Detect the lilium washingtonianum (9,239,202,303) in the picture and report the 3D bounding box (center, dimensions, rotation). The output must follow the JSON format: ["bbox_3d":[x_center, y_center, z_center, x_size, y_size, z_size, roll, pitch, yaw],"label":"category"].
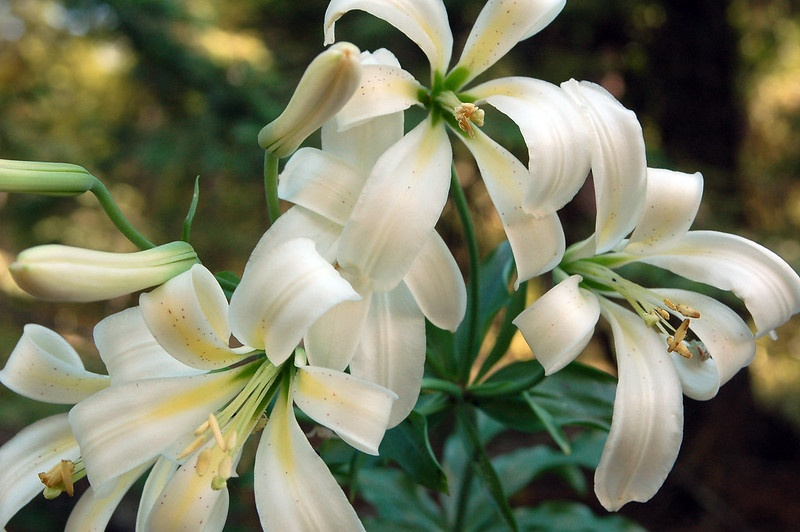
[{"bbox_3d":[-0.763,0.013,2.505,0.592,0.189,0.198,-1,13,-22],"label":"lilium washingtonianum"}]
